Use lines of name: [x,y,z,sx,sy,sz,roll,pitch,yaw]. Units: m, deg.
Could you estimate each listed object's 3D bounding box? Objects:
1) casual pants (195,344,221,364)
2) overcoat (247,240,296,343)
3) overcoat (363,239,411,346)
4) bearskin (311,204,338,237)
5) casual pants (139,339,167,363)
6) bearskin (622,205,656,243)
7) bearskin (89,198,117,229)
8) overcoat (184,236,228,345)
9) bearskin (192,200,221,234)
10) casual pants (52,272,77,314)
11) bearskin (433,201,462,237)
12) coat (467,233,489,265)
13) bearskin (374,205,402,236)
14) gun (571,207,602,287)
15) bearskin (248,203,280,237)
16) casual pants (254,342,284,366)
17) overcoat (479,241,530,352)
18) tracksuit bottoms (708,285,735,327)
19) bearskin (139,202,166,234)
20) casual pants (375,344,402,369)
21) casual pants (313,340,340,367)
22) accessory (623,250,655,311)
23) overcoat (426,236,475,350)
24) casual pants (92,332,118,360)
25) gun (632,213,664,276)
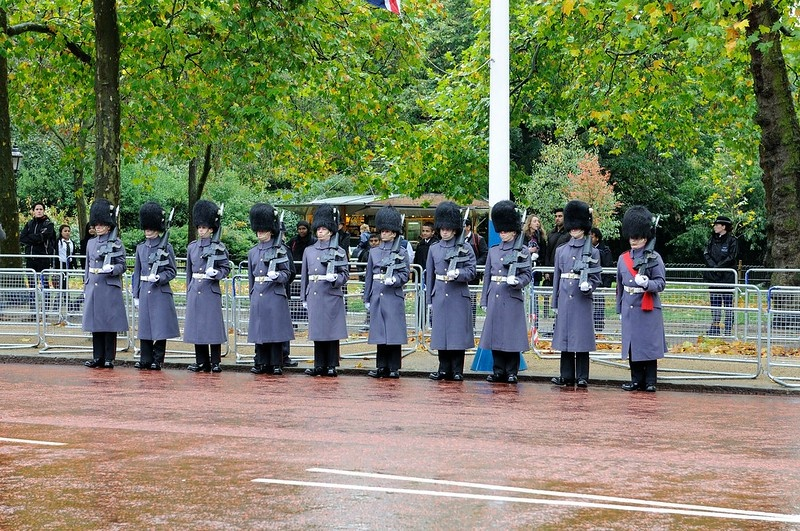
casual pants: [-3.578,1.651,23.799,0.460,0.458,0.190,2,17,4]
overcoat: [-2.400,0.476,23.629,0.819,1.932,0.436,0,-4,-4]
overcoat: [-0.288,0.514,23.241,0.824,1.895,0.482,-1,-4,10]
bearskin: [-1.373,-0.857,23.504,0.574,0.479,0.567,2,-5,-18]
casual pants: [-4.641,1.626,23.976,0.438,0.443,0.261,1,-4,-14]
bearskin: [4.094,-0.723,22.170,0.564,0.532,0.646,0,-6,-4]
bearskin: [-5.681,-1.000,24.409,0.561,0.502,0.597,-1,-7,0]
overcoat: [-3.609,0.489,23.785,0.794,1.985,0.451,0,-4,-4]
bearskin: [-3.753,-0.911,23.990,0.682,0.531,0.482,3,-5,-31]
casual pants: [-6.836,0.568,26.119,0.713,0.794,0.187,-3,-3,-13]
bearskin: [0.880,-0.925,23.241,0.555,0.512,0.641,0,5,-8]
coat: [1.470,-0.294,24.890,0.409,0.585,0.621,-25,-8,4]
bearskin: [-0.159,-0.821,23.497,0.514,0.476,0.543,-1,-5,2]
gun: [3.299,-0.327,22.558,0.399,1.597,0.661,-3,-5,37]
bearskin: [-2.539,-0.887,23.975,0.558,0.541,0.656,1,3,-2]
casual pants: [-2.437,1.643,23.608,0.510,0.507,0.256,3,18,-1]
overcoat: [1.835,0.560,22.690,0.917,1.984,0.418,-1,-4,11]
tracksuit bottoms: [5.748,0.794,23.009,0.402,0.716,0.251,-1,-4,10]
bearskin: [-4.705,-0.898,24.367,0.504,0.508,0.599,-1,-3,-7]
casual pants: [-0.217,1.686,23.188,0.400,0.456,0.202,0,-4,-11]
casual pants: [-1.361,1.630,23.402,0.425,0.514,0.195,0,-4,-8]
accessory: [4.033,0.281,22.050,0.499,1.030,0.294,-3,-5,34]
overcoat: [0.892,0.524,23.006,0.886,2.013,0.477,-1,-4,5]
casual pants: [-5.620,1.550,24.268,0.429,0.550,0.307,0,-4,-7]
gun: [4.302,-0.358,22.361,0.549,1.307,0.279,2,-44,30]
